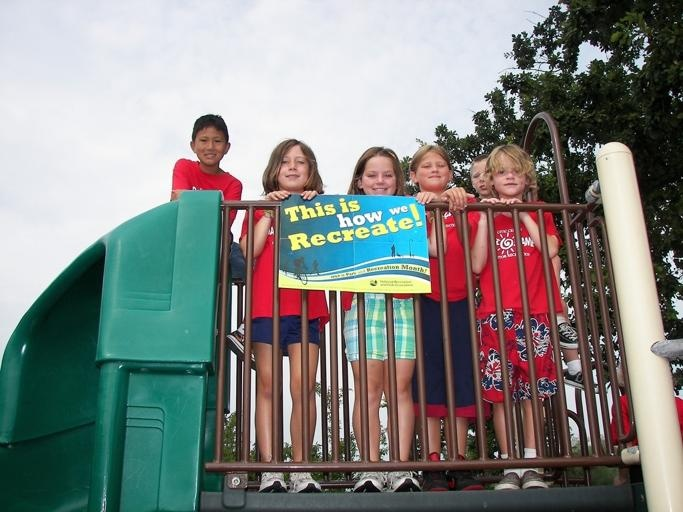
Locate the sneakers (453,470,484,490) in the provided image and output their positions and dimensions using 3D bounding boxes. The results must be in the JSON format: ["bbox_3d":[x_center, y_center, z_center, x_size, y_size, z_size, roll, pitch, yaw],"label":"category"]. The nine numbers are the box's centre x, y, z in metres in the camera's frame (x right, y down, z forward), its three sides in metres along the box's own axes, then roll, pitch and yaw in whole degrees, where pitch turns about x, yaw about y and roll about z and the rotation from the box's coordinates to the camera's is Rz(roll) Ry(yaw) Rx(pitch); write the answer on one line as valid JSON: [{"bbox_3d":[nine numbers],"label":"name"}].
[{"bbox_3d":[0.646,1.156,2.994,0.138,0.083,0.520,-8,-16,8],"label":"sneakers"}]

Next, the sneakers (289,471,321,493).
[{"bbox_3d":[-0.168,1.085,2.783,0.087,0.105,0.232,6,-25,-16],"label":"sneakers"}]

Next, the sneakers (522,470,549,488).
[{"bbox_3d":[0.953,1.087,2.841,0.063,0.088,0.197,-2,-2,4],"label":"sneakers"}]

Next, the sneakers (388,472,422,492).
[{"bbox_3d":[0.302,1.100,2.813,0.078,0.087,0.195,2,-27,-5],"label":"sneakers"}]

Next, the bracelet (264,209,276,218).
[{"bbox_3d":[-0.394,-0.236,3.246,0.057,0.048,0.060,1,-7,-2],"label":"bracelet"}]

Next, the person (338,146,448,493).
[{"bbox_3d":[0.246,0.220,3.258,0.587,2.031,0.882,-8,-15,14],"label":"person"}]

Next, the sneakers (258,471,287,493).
[{"bbox_3d":[-0.320,1.068,2.752,0.071,0.088,0.196,5,-28,-7],"label":"sneakers"}]

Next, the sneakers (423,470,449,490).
[{"bbox_3d":[0.473,1.094,2.845,0.065,0.079,0.190,0,-13,-3],"label":"sneakers"}]

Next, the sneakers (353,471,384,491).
[{"bbox_3d":[0.133,1.075,2.771,0.148,0.086,0.211,-6,-16,-1],"label":"sneakers"}]

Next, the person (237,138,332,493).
[{"bbox_3d":[-0.314,0.203,3.202,0.508,2.024,0.734,-4,-14,-2],"label":"person"}]
